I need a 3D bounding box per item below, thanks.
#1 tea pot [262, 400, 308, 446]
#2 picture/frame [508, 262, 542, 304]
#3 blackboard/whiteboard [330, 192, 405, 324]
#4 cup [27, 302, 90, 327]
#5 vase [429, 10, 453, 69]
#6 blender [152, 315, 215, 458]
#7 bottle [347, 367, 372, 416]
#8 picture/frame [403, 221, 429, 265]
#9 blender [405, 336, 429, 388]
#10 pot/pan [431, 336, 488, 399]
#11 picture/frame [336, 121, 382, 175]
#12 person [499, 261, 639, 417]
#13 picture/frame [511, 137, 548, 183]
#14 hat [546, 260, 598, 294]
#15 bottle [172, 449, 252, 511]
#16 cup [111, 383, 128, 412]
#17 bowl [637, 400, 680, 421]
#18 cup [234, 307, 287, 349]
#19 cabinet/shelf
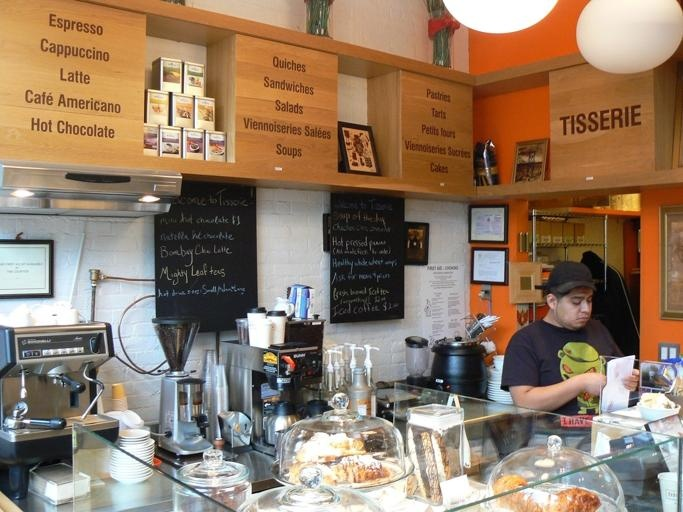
[{"bbox_3d":[-0.325,0.829,2.690,0.237,0.210,0.182,9,-8,-31],"label":"tea pot"},{"bbox_3d":[1.399,0.203,4.119,0.358,0.314,0.040,-2,2,-32],"label":"picture/frame"},{"bbox_3d":[0.186,0.010,3.761,0.637,0.876,0.081,0,-3,-37],"label":"blackboard/whiteboard"},{"bbox_3d":[-1.244,0.247,2.321,0.149,0.080,0.137,0,-4,0],"label":"cup"},{"bbox_3d":[0.739,-1.578,3.955,0.182,0.452,0.182,-2,-3,7],"label":"vase"},{"bbox_3d":[-0.801,0.635,2.682,0.207,0.639,0.358,0,-3,-36],"label":"blender"},{"bbox_3d":[0.111,0.809,3.216,0.140,0.258,0.254,-2,-2,1],"label":"bottle"},{"bbox_3d":[0.555,-0.097,4.052,0.374,0.364,0.040,-1,0,-45],"label":"picture/frame"},{"bbox_3d":[0.533,0.738,3.758,0.156,0.339,0.223,-2,-3,6],"label":"blender"},{"bbox_3d":[0.793,0.766,3.810,0.448,0.353,0.415,0,-2,-8],"label":"pot/pan"},{"bbox_3d":[0.108,-0.698,3.508,0.292,0.355,0.126,0,-3,-37],"label":"picture/frame"},{"bbox_3d":[1.237,0.442,3.068,0.602,0.811,0.566,-3,-3,25],"label":"person"},{"bbox_3d":[1.444,-0.705,4.034,0.238,0.332,0.226,0,-3,-38],"label":"picture/frame"},{"bbox_3d":[1.292,0.123,3.054,0.259,0.185,0.232,-2,-3,19],"label":"hat"},{"bbox_3d":[-0.330,0.578,1.396,0.156,0.115,0.145,2,0,0],"label":"bottle"},{"bbox_3d":[-1.122,0.707,2.699,0.068,0.132,0.091,0,-3,-26],"label":"cup"},{"bbox_3d":[1.222,0.590,2.057,0.120,0.040,0.109,-3,-4,0],"label":"bowl"},{"bbox_3d":[-0.421,0.377,2.816,0.265,0.161,0.166,3,-6,-2],"label":"cup"},{"bbox_3d":[2.047,-0.007,4.924,1.177,0.962,0.401,0,1,-32],"label":"cabinet/shelf"}]
